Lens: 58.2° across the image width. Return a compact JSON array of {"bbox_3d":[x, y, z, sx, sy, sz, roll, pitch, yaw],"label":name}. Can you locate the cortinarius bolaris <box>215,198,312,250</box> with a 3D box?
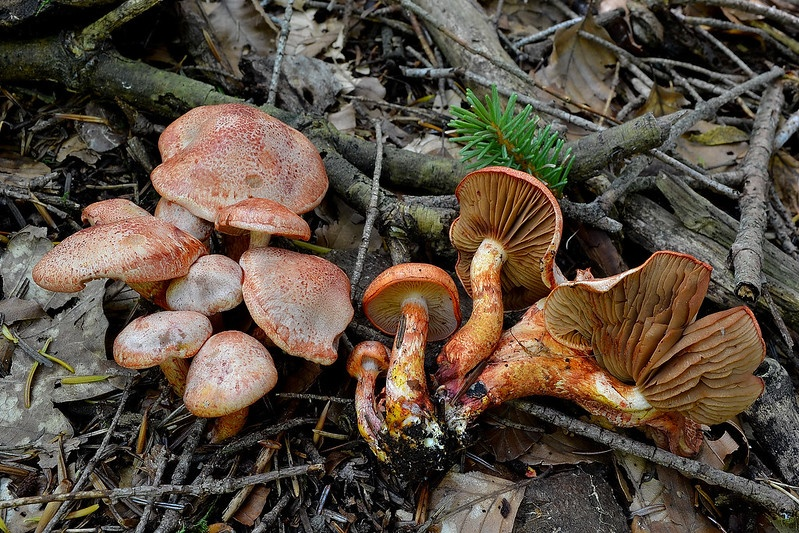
[{"bbox_3d":[-0.977,-0.319,5.075,0.424,0.446,0.311,2,93,-22],"label":"cortinarius bolaris"}]

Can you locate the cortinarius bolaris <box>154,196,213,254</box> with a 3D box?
[{"bbox_3d":[-1.596,-0.321,5.289,0.320,0.335,0.196,22,94,1],"label":"cortinarius bolaris"}]

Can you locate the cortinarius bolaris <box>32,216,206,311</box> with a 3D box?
[{"bbox_3d":[-1.941,-0.084,4.994,1.125,0.268,0.464,-6,68,-7],"label":"cortinarius bolaris"}]
